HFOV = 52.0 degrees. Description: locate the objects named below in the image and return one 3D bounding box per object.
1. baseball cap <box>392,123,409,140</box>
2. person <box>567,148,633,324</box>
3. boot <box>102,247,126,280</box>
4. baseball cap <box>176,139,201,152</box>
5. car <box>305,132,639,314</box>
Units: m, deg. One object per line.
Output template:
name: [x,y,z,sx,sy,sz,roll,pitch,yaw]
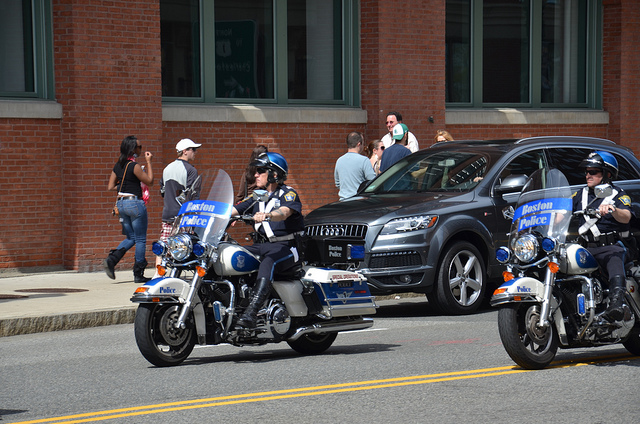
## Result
baseball cap: [1.599,-1.634,13.268,0.235,0.198,0.376,4,21,19]
person: [3.042,0.246,7.155,0.641,1.821,0.853,0,1,24]
boot: [-3.803,0.929,12.094,0.358,0.574,0.302,0,1,21]
baseball cap: [-2.378,-1.204,11.800,0.344,0.137,0.224,-7,5,-16]
car: [1.876,0.010,10.469,5.776,2.123,2.645,-1,0,-41]
